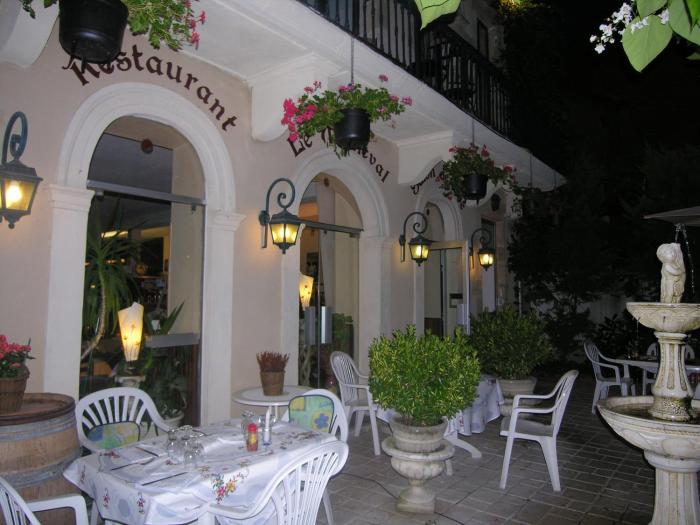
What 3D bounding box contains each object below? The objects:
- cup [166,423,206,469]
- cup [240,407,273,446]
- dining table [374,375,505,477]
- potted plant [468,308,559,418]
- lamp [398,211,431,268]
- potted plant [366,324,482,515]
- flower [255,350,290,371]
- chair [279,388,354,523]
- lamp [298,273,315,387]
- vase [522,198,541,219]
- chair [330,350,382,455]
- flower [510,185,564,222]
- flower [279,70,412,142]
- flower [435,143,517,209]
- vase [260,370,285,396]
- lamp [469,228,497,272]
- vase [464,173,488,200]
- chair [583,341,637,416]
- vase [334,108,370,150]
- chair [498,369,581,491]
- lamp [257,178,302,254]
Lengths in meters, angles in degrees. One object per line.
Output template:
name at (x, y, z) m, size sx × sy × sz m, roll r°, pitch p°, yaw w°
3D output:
cup at (-1.203, 1.327, 3.905) m, size 0.210 × 0.228 × 0.227 m, roll 2°, pitch -4°, yaw 0°
cup at (-0.763, 1.322, 4.310) m, size 0.255 × 0.325 × 0.172 m, roll -1°, pitch -2°, yaw 3°
dining table at (1.294, 1.837, 6.588) m, size 0.995 × 1.066 × 1.330 m, roll -1°, pitch -5°, yaw 25°
potted plant at (2.143, 1.427, 7.962) m, size 1.279 × 1.784 × 1.355 m, roll -4°, pitch 4°, yaw -4°
lamp at (1.184, -0.387, 8.888) m, size 0.508 × 0.889 × 0.960 m, roll 2°, pitch 3°, yaw 28°
potted plant at (0.638, 1.489, 5.113) m, size 0.983 × 1.638 × 0.757 m, roll 0°, pitch 5°, yaw 7°
flower at (-0.824, 1.058, 5.650) m, size 0.251 × 0.202 × 0.274 m, roll -7°, pitch -13°, yaw 32°
chair at (-0.287, 1.717, 4.997) m, size 0.733 × 1.348 × 0.979 m, roll 0°, pitch -27°, yaw -1°
lamp at (-0.601, 0.948, 7.629) m, size 0.306 × 1.553 × 0.198 m, roll -1°, pitch 3°, yaw -32°
vase at (3.805, -1.112, 11.450) m, size 0.339 × 0.453 × 0.386 m, roll 1°, pitch 3°, yaw -27°
chair at (0.142, 1.787, 6.913) m, size 0.627 × 1.136 × 0.651 m, roll 2°, pitch 7°, yaw 18°
flower at (3.944, -1.179, 11.198) m, size 0.695 × 0.581 × 1.047 m, roll 0°, pitch 13°, yaw -7°
flower at (-0.012, -1.712, 5.842) m, size 1.260 × 0.562 × 1.048 m, roll -15°, pitch 13°, yaw -39°
flower at (1.835, -1.344, 8.037) m, size 0.896 × 0.892 × 0.745 m, roll -3°, pitch -4°, yaw 36°
vase at (-0.807, 1.241, 5.607) m, size 0.212 × 0.196 × 0.228 m, roll -2°, pitch -4°, yaw 31°
lamp at (2.461, -0.222, 10.127) m, size 0.366 × 0.885 × 0.249 m, roll -4°, pitch -17°, yaw 22°
vase at (1.824, -1.067, 7.842) m, size 0.313 × 0.264 × 0.331 m, roll 2°, pitch -2°, yaw -28°
chair at (4.048, 1.844, 8.334) m, size 0.644 × 0.994 × 0.660 m, roll -1°, pitch -3°, yaw 15°
vase at (0.027, -1.297, 5.494) m, size 0.301 × 0.299 × 0.347 m, roll 1°, pitch -15°, yaw 1°
chair at (1.970, 1.752, 5.792) m, size 0.760 × 1.169 × 0.845 m, roll 2°, pitch 0°, yaw 35°
lamp at (-0.757, -0.560, 6.579) m, size 0.492 × 0.929 × 0.590 m, roll 2°, pitch 3°, yaw 36°
